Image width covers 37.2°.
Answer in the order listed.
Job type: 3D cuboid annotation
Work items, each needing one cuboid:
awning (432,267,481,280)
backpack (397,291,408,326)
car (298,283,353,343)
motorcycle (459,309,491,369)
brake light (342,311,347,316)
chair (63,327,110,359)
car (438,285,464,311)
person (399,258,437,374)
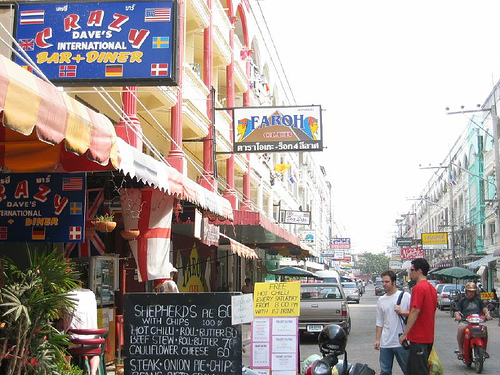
[{"bbox_3d":[10.359,4.274,37.186,1.297,0.553,1.448,5,-11,-8],"label":"awning"},{"bbox_3d":[2.379,1.893,11.741,0.093,0.361,0.249,7,-8,5],"label":"backpack"},{"bbox_3d":[1.912,3.412,19.817,1.294,1.272,2.826,-1,-3,8],"label":"car"},{"bbox_3d":[4.843,3.196,15.794,0.537,1.238,1.050,-3,-16,5],"label":"motorcycle"},{"bbox_3d":[2.592,3.441,20.452,0.121,0.096,0.120,4,-15,-27],"label":"brake light"},{"bbox_3d":[-2.692,2.555,12.174,0.775,0.540,0.977,4,-7,-19],"label":"chair"},{"bbox_3d":[10.737,5.959,40.471,0.943,0.995,2.187,0,-1,14],"label":"car"},{"bbox_3d":[2.506,1.874,11.066,0.492,1.737,0.594,-12,-18,33],"label":"person"}]
